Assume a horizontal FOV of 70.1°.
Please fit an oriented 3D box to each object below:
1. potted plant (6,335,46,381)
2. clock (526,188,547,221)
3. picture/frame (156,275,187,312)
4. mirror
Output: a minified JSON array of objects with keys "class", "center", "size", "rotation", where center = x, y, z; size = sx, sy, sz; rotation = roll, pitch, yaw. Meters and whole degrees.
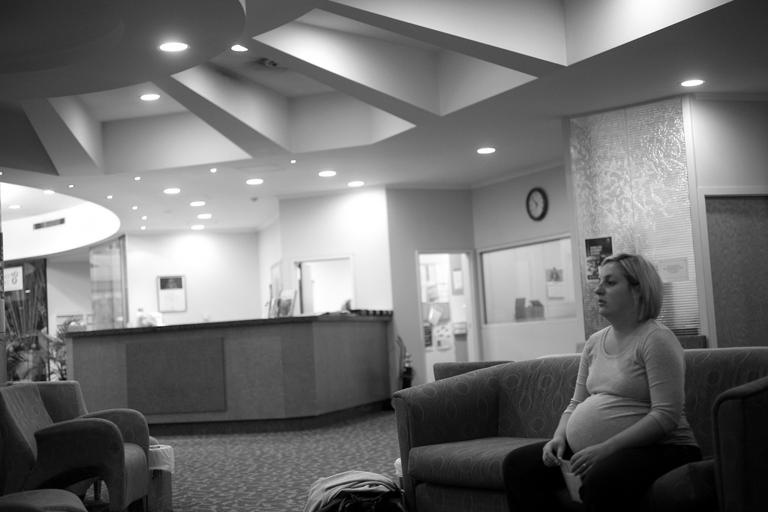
[{"class":"potted plant","center":[-9.945,2.828,15.314],"size":[1.157,1.281,0.563],"rotation":[-4,-4,11]},{"class":"clock","center":[2.736,-0.930,9.737],"size":[0.112,0.653,0.582],"rotation":[5,-6,-39]},{"class":"picture/frame","center":[-5.118,0.940,13.228],"size":[0.894,1.123,0.089],"rotation":[2,-7,-14]},{"class":"mirror","center":[2.676,0.437,9.880],"size":[0.124,1.115,1.539],"rotation":[8,-13,-44]}]
